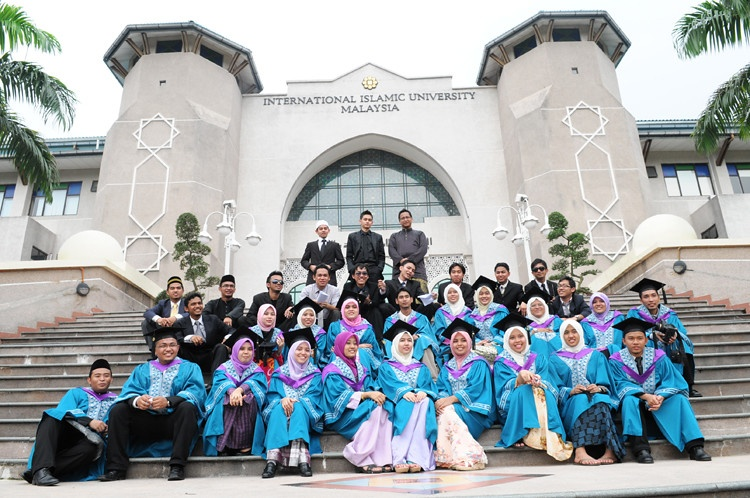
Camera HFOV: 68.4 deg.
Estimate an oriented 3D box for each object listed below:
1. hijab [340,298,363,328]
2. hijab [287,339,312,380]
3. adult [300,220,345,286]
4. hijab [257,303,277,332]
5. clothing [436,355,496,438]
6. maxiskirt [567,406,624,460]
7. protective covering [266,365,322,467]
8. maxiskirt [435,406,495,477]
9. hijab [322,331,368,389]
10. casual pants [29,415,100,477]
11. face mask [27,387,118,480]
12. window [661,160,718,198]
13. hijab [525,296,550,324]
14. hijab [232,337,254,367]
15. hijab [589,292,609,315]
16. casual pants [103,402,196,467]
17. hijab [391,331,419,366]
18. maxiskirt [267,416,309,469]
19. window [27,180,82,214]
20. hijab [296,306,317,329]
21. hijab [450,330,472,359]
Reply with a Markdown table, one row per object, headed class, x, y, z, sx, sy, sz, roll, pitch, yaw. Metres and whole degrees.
| class | x | y | z | sx | sy | sz | roll | pitch | yaw |
| --- | --- | --- | --- | --- | --- | --- | --- | --- | --- |
| hijab | -0.342 | 1.110 | 9.557 | 0.465 | 0.509 | 0.384 | -2 | -23 | -1 |
| hijab | -1.113 | 1.643 | 8.091 | 0.400 | 0.466 | 0.280 | 11 | -35 | -21 |
| adult | -1.134 | 0.508 | 11.821 | 0.937 | 2.184 | 0.712 | 1 | 5 | 1 |
| hijab | -1.840 | 1.158 | 9.286 | 0.338 | 0.467 | 0.416 | 0 | -17 | -13 |
| clothing | 1.308 | 2.162 | 7.882 | 0.756 | 0.938 | 0.580 | -18 | -29 | 37 |
| maxiskirt | 2.929 | 2.582 | 7.680 | 0.717 | 0.691 | 0.585 | 2 | -30 | 5 |
| protective covering | -1.205 | 2.319 | 7.833 | 0.812 | 1.369 | 0.792 | -12 | -25 | 28 |
| maxiskirt | 1.137 | 2.577 | 7.534 | 0.664 | 0.935 | 0.318 | -1 | -60 | -13 |
| hijab | -0.412 | 1.705 | 8.423 | 0.949 | 0.933 | 0.524 | 5 | -18 | -32 |
| casual pants | -4.022 | 2.598 | 7.308 | 0.713 | 0.895 | 0.455 | 16 | -4 | -6 |
| face mask | -3.979 | 2.497 | 7.315 | 0.598 | 0.810 | 0.486 | 35 | -46 | -16 |
| window | 13.506 | -2.961 | 23.775 | 1.913 | 1.386 | 0.128 | 0 | -18 | 2 |
| hijab | 2.841 | 1.127 | 9.785 | 0.508 | 0.431 | 0.394 | -8 | -15 | 17 |
| hijab | -2.004 | 1.529 | 8.184 | 0.323 | 0.449 | 0.412 | 6 | -23 | -15 |
| hijab | 3.948 | 0.951 | 9.688 | 0.299 | 0.412 | 0.362 | -12 | -11 | 23 |
| casual pants | -3.003 | 2.733 | 7.493 | 1.041 | 1.038 | 0.818 | 5 | -39 | -7 |
| hijab | 0.436 | 1.500 | 8.461 | 0.344 | 0.533 | 0.366 | 1 | -5 | -23 |
| maxiskirt | -1.107 | 2.699 | 7.403 | 0.396 | 0.478 | 0.204 | 0 | -20 | 6 |
| window | -13.705 | -2.163 | 23.691 | 0.079 | 1.641 | 2.284 | 21 | 14 | 18 |
| hijab | -1.143 | 1.164 | 9.254 | 0.273 | 0.380 | 0.327 | 3 | -32 | -6 |
| hijab | 1.267 | 1.433 | 8.239 | 0.311 | 0.416 | 0.380 | -3 | -18 | 12 |
